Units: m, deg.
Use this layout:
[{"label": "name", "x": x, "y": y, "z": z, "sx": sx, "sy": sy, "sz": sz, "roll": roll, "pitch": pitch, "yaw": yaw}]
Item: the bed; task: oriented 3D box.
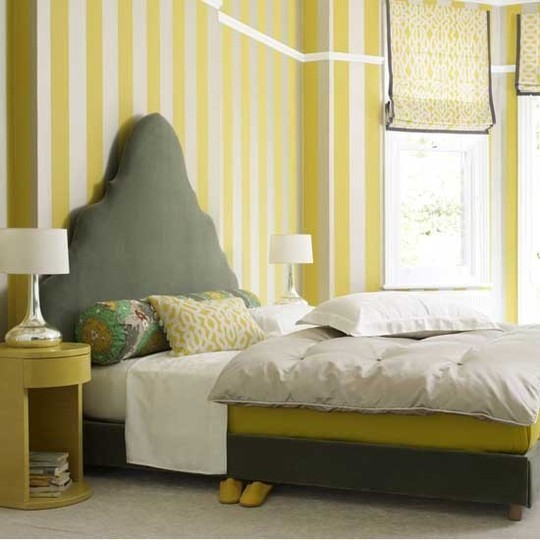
[{"label": "bed", "x": 0.120, "y": 0.070, "z": 3.074, "sx": 1.665, "sy": 1.708, "sz": 1.462, "roll": -1, "pitch": -3, "yaw": 20}]

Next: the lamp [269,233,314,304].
[{"label": "lamp", "x": 0.143, "y": 0.001, "z": 4.453, "sx": 0.362, "sy": 0.655, "sz": 0.396, "roll": 0, "pitch": -1, "yaw": 3}]

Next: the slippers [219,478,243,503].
[{"label": "slippers", "x": -0.141, "y": 0.793, "z": 2.315, "sx": 0.067, "sy": 0.055, "sz": 0.127, "roll": -1, "pitch": -1, "yaw": -3}]

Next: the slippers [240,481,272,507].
[{"label": "slippers", "x": -0.056, "y": 0.786, "z": 2.276, "sx": 0.051, "sy": 0.044, "sz": 0.109, "roll": -3, "pitch": -3, "yaw": 9}]
